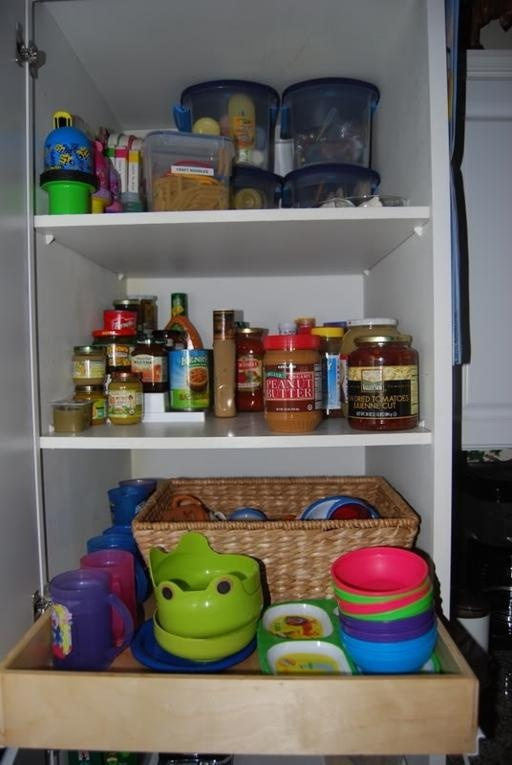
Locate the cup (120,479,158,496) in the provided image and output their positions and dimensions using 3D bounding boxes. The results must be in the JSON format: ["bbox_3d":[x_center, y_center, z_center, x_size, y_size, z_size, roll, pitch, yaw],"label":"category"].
[{"bbox_3d":[-0.245,0.210,1.361,0.047,0.033,0.041,3,3,27],"label":"cup"}]

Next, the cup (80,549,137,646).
[{"bbox_3d":[-0.234,0.331,1.016,0.085,0.148,0.150,0,5,-14],"label":"cup"}]

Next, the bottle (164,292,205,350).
[{"bbox_3d":[-0.163,-0.126,1.389,0.092,0.132,0.030,6,28,5],"label":"bottle"}]

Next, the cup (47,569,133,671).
[{"bbox_3d":[-0.225,0.343,0.911,0.114,0.113,0.072,-3,-3,12],"label":"cup"}]

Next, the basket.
[{"bbox_3d":[0.018,0.236,1.086,0.310,0.108,0.217,-1,10,-1],"label":"basket"}]

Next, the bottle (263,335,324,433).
[{"bbox_3d":[0.061,0.000,1.108,0.102,0.159,0.103,-2,-1,0],"label":"bottle"}]

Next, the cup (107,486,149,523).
[{"bbox_3d":[-0.249,0.231,1.308,0.066,0.072,0.073,6,4,12],"label":"cup"}]

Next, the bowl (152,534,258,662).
[{"bbox_3d":[-0.077,0.309,0.961,0.129,0.119,0.166,1,-7,-15],"label":"bowl"}]

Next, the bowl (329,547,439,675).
[{"bbox_3d":[0.154,0.309,0.915,0.142,0.162,0.146,-3,-14,-1],"label":"bowl"}]
